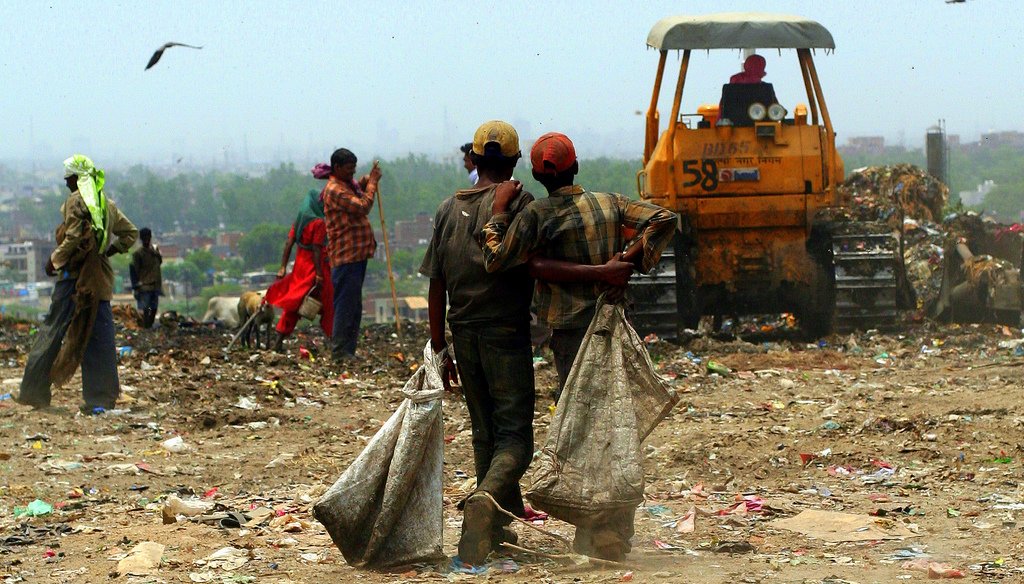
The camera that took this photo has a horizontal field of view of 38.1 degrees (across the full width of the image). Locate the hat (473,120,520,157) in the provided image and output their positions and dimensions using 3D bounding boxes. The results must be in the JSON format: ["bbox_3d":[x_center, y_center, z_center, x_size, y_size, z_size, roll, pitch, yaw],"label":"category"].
[{"bbox_3d":[-0.172,-1.871,17.120,0.561,0.345,0.839,4,19,3],"label":"hat"}]

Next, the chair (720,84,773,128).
[{"bbox_3d":[3.492,-2.819,22.201,0.769,0.618,0.322,2,0,6],"label":"chair"}]

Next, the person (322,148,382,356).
[{"bbox_3d":[-2.326,-0.530,21.225,0.807,2.951,1.004,2,0,-7],"label":"person"}]

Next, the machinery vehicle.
[{"bbox_3d":[4.254,-1.796,21.653,4.387,4.256,5.676,-1,0,0],"label":"machinery vehicle"}]

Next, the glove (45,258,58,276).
[{"bbox_3d":[-5.978,-0.326,19.352,0.165,0.191,0.205,3,13,1],"label":"glove"}]

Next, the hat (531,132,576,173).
[{"bbox_3d":[0.482,-1.669,16.824,0.512,0.376,0.711,-2,30,13],"label":"hat"}]
